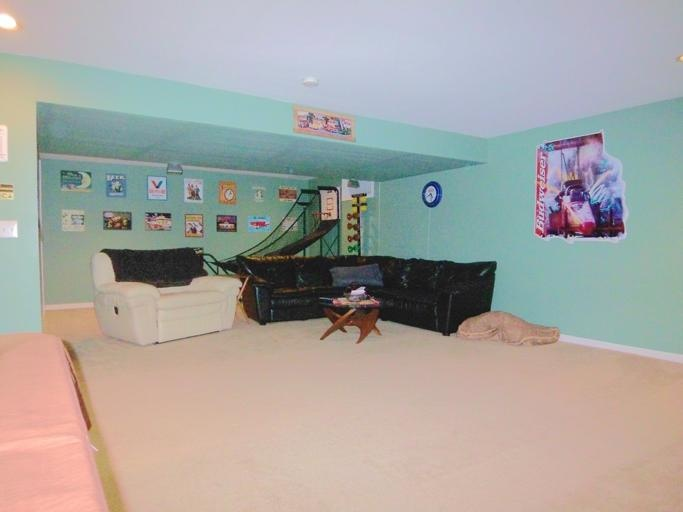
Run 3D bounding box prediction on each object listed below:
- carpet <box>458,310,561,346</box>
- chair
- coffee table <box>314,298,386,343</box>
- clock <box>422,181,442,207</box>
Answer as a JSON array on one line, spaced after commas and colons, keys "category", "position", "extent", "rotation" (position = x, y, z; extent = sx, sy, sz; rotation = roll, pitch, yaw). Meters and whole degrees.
[{"category": "carpet", "position": [1.902, 0.856, 5.661], "extent": [0.738, 0.217, 0.527], "rotation": [1, 0, 27]}, {"category": "chair", "position": [-2.169, 0.473, 5.907], "extent": [1.181, 1.094, 1.556], "rotation": [-3, -2, 43]}, {"category": "coffee table", "position": [0.143, 0.713, 5.757], "extent": [0.581, 0.354, 0.560], "rotation": [1, 0, -16]}, {"category": "clock", "position": [1.351, -0.929, 7.363], "extent": [0.096, 0.391, 0.427], "rotation": [-5, 12, -24]}]
